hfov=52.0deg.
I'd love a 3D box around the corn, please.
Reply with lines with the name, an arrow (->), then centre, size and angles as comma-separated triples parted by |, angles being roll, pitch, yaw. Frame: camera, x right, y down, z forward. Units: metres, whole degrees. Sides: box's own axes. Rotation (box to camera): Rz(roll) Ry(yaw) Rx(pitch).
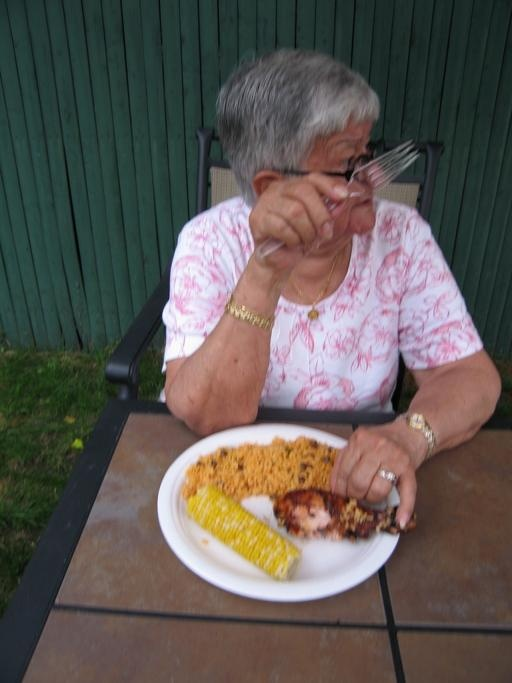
corn -> -0.020, 0.225, 0.741 | 0.103, 0.106, 0.164 | -4, 17, -14

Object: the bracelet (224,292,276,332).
bracelet -> -0.015, -0.049, 1.008 | 0.091, 0.054, 0.031 | 9, 33, 5

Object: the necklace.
necklace -> 0.152, -0.108, 1.259 | 0.061, 0.189, 0.082 | -11, 18, -28
